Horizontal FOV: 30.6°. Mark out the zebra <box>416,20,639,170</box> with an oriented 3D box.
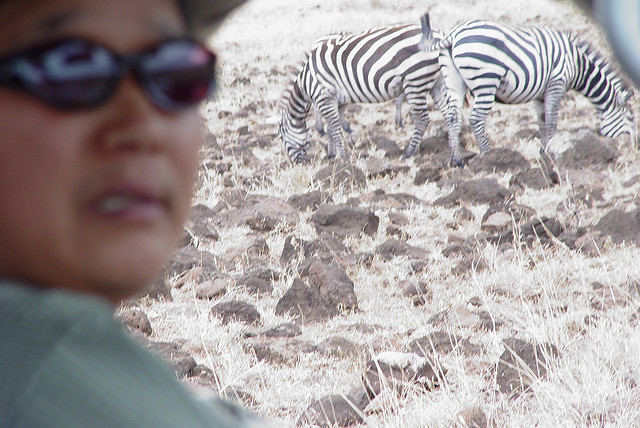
[{"bbox_3d":[2.580,-1.287,14.464,2.308,2.205,1.755,-8,52,1],"label":"zebra"}]
